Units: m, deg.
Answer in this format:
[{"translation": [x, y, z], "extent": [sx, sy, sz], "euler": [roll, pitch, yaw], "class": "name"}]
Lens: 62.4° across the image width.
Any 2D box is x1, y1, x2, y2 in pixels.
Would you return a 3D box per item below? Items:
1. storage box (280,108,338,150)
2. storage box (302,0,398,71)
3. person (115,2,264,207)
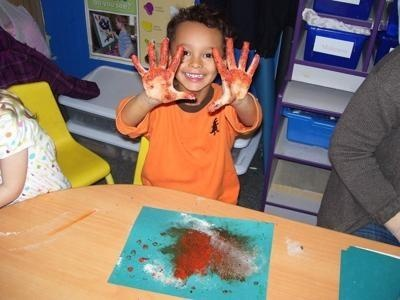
[{"translation": [0.652, -0.127, 1.949], "extent": [0.325, 0.170, 0.215], "euler": [16, 26, 8], "class": "storage box"}, {"translation": [0.747, -0.701, 1.730], "extent": [0.447, 0.352, 0.365], "euler": [11, 29, 15], "class": "storage box"}, {"translation": [-0.035, -0.163, 1.411], "extent": [0.556, 0.729, 0.428], "euler": [21, 41, 19], "class": "person"}]
